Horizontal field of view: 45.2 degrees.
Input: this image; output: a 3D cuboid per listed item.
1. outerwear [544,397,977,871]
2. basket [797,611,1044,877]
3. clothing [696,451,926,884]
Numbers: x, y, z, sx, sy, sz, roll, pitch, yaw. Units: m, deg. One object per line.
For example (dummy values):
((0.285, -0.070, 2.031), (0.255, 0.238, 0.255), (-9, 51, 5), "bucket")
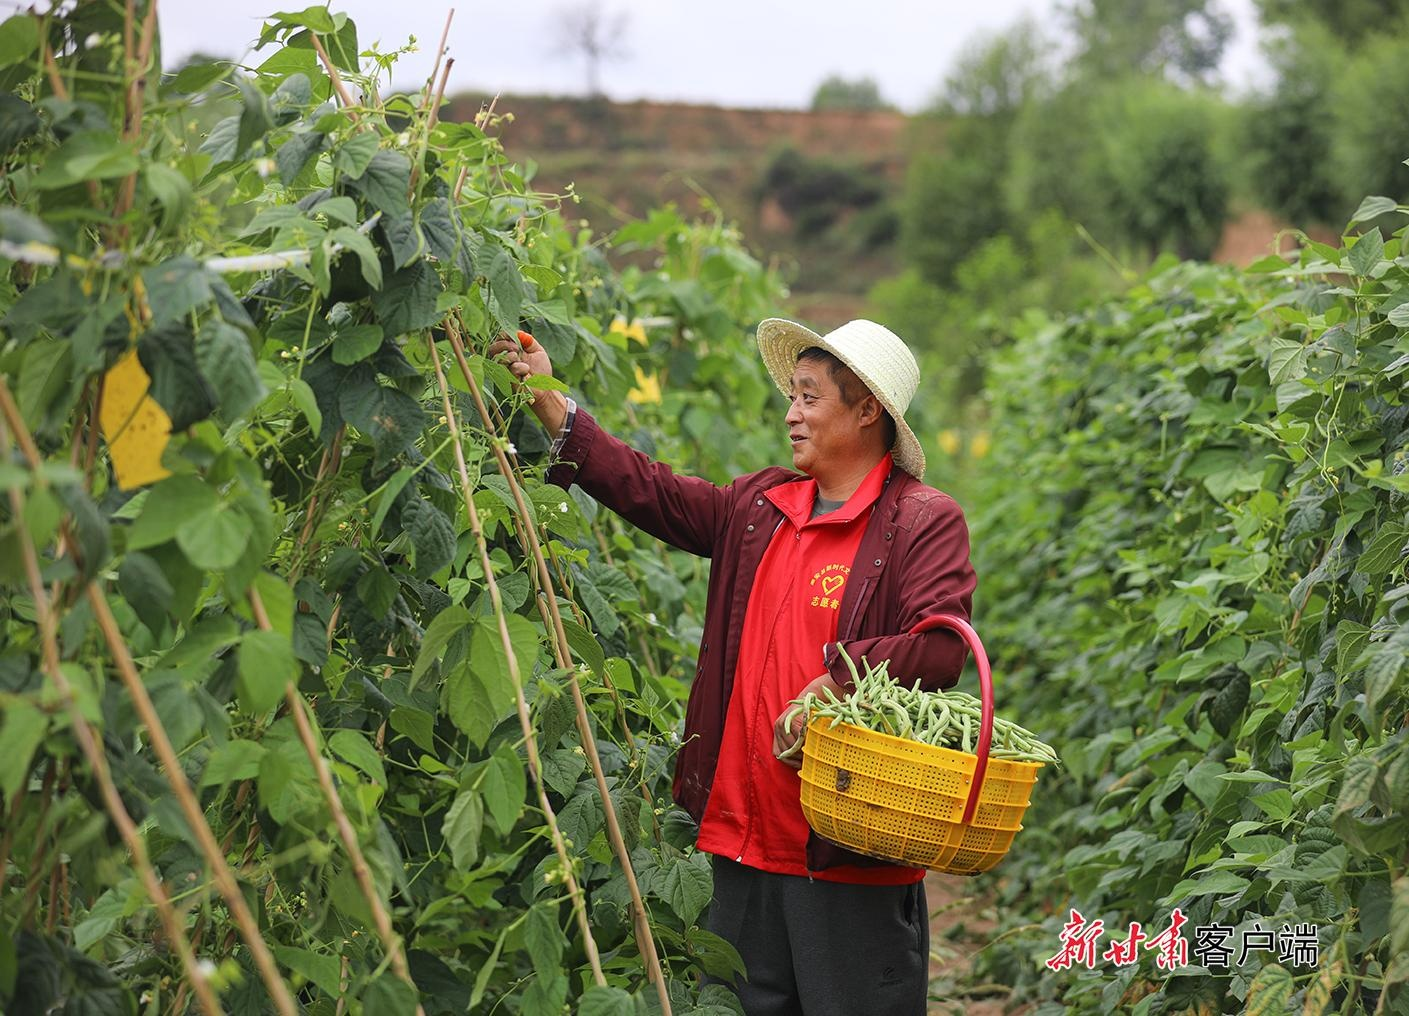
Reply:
((0.131, 0.132, 3.798), (0.816, 1.091, 0.731), (1, 8, -15), "outerwear")
((0.440, 0.484, 3.435), (0.500, 0.517, 0.400), (8, -5, 8), "basket")
((0.197, 0.366, 3.798), (0.472, 0.945, 0.322), (9, 0, 16), "clothing")
